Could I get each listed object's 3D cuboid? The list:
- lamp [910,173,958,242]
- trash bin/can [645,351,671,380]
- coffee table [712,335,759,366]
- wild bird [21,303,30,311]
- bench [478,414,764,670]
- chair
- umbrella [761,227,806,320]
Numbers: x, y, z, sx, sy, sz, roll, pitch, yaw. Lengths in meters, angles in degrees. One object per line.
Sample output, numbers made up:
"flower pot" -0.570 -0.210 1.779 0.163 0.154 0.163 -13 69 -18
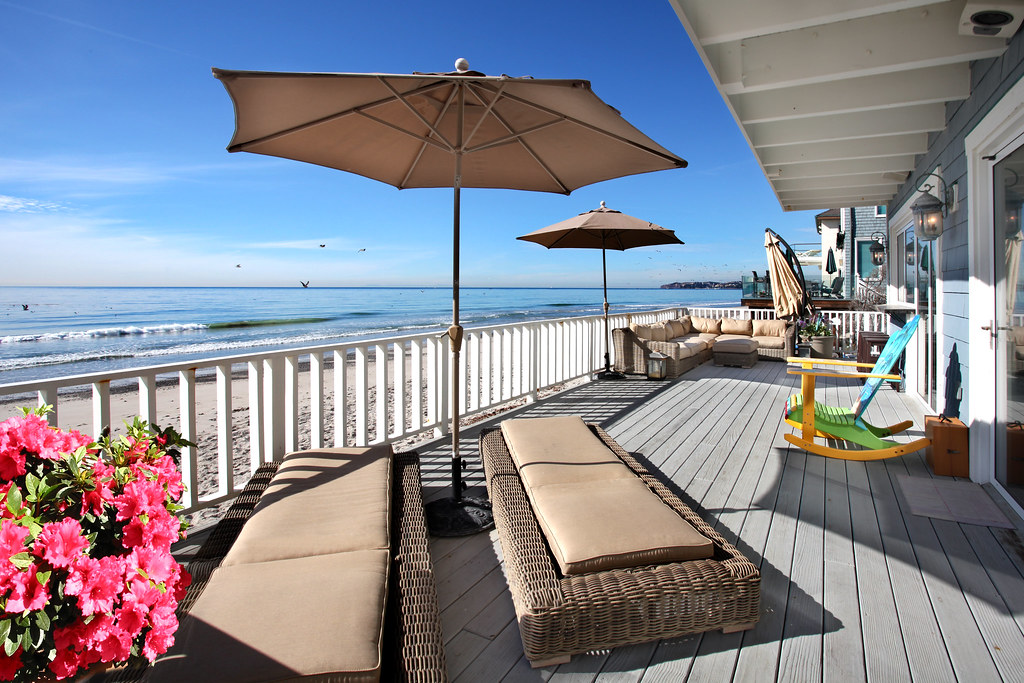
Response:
"lamp" 3.990 -1.283 5.492 0.328 0.637 0.231 -9 -1 43
"trash bin/can" 2.101 0.345 8.463 0.376 0.478 0.360 -1 2 -5
"coffee table" 3.756 0.151 9.771 0.497 0.450 0.690 2 7 31
"wild bird" -25.271 -1.749 30.056 0.302 0.325 0.325 -16 -11 19
"bench" 0.523 1.155 3.855 1.276 0.442 2.158 -2 11 -11
"chair" 2.978 0.398 5.184 1.368 1.092 1.245 -5 3 -1
"umbrella" 5.400 -1.304 11.404 0.837 1.729 1.155 13 18 43
